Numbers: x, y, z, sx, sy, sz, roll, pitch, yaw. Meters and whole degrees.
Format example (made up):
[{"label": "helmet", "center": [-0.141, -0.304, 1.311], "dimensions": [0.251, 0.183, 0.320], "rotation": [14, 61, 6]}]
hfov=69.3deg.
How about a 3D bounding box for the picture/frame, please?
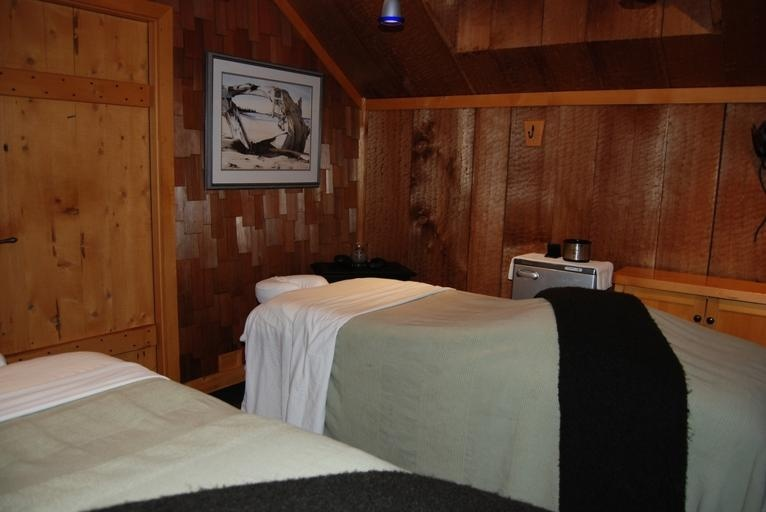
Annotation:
[{"label": "picture/frame", "center": [-0.939, -1.077, 4.606], "dimensions": [0.088, 1.027, 1.256], "rotation": [10, 12, 37]}]
